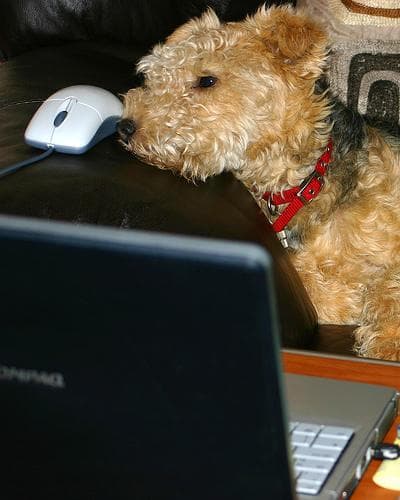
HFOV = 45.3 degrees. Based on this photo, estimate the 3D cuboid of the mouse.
[{"bbox_3d":[-0.283,-0.339,1.152,0.183,0.090,0.269,15,43,7],"label":"mouse"}]
